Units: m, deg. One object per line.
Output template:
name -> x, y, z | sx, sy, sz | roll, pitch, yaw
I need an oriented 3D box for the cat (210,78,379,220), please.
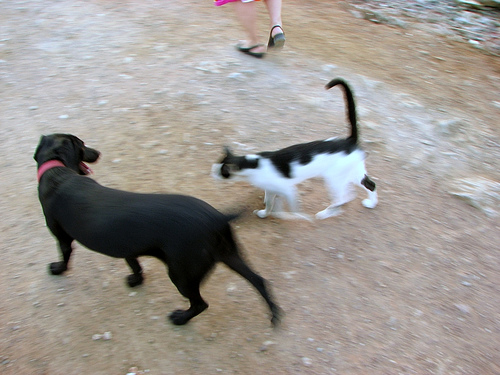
cat -> 0.294, -0.248, 4.330 | 1.975, 0.939, 0.508 | -7, 18, -30
